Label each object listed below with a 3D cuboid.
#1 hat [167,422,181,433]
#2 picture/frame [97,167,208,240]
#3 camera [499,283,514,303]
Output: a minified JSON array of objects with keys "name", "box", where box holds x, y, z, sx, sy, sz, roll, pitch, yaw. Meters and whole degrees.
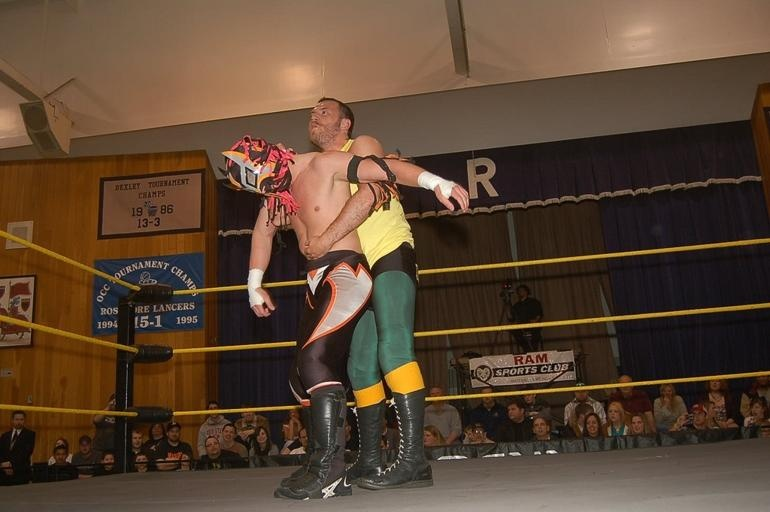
[{"name":"hat","box":[-2.696,2.167,9.025,0.118,0.121,0.145,2,1,-20]},{"name":"picture/frame","box":[-3.253,-0.700,10.038,1.093,0.699,0.039,-3,-10,4]},{"name":"camera","box":[1.694,0.525,9.909,0.245,0.335,0.169,-4,-12,32]}]
